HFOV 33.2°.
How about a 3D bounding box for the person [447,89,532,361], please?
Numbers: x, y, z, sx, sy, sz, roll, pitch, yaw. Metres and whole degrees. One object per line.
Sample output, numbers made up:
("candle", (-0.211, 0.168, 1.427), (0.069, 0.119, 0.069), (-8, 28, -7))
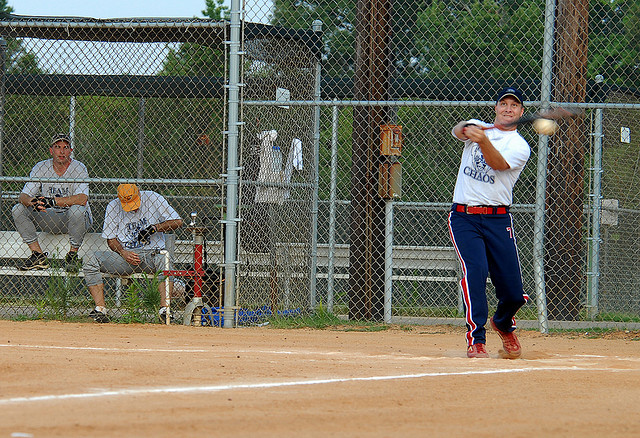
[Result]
("person", (1.825, 0.226, 11.655), (0.822, 2.518, 0.912), (-2, 14, -5))

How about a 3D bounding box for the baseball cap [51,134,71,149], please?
("baseball cap", (-3.485, -1.070, 14.464), (0.256, 0.173, 0.327), (-4, 14, -13))

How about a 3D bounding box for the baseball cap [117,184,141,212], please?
("baseball cap", (-2.505, -0.321, 13.944), (0.348, 0.267, 0.500), (0, 36, -10))

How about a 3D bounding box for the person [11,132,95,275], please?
("person", (-3.474, -0.232, 14.256), (1.071, 1.698, 0.994), (10, 18, 37))

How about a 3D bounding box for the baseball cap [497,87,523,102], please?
("baseball cap", (2.076, -1.382, 11.823), (0.257, 0.143, 0.359), (2, 14, 10))

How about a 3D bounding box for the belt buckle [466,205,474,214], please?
("belt buckle", (1.615, -0.106, 11.620), (0.095, 0.089, 0.023), (1, 0, 10))

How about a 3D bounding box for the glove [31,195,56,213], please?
("glove", (-3.647, -0.225, 14.142), (0.270, 0.196, 0.081), (4, 22, -11))

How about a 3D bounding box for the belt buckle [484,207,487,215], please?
("belt buckle", (1.780, -0.095, 11.605), (0.030, 0.073, 0.018), (-4, 14, -14))
